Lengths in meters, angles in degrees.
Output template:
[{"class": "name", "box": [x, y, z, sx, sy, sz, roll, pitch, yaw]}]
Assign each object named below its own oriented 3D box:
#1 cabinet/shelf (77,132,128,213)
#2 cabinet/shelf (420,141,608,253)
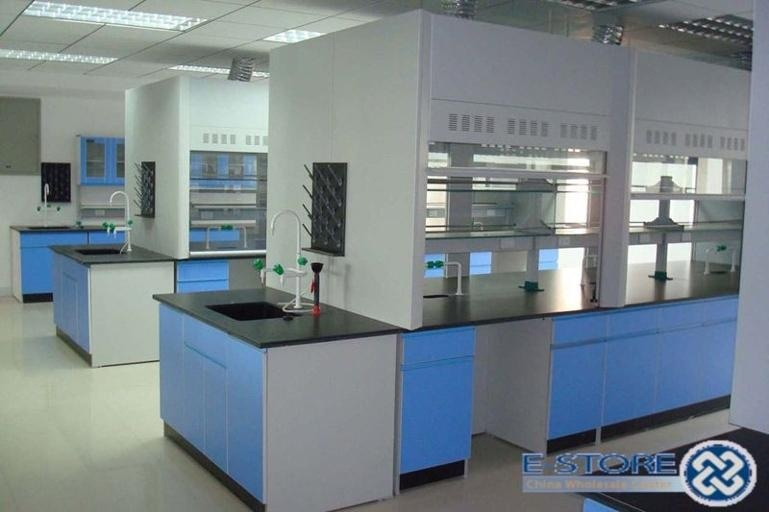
[{"class": "cabinet/shelf", "box": [-4.653, -1.255, 9.909, 0.341, 1.367, 0.812, 18, 16, 39]}, {"class": "cabinet/shelf", "box": [0.930, -0.470, 4.546, 1.776, 0.749, 0.710, -5, 15, -28]}]
